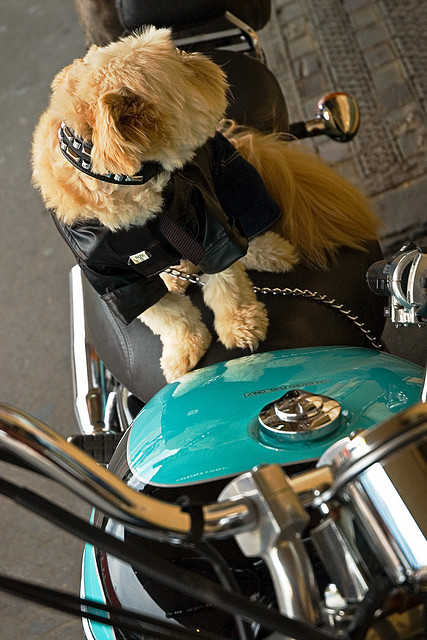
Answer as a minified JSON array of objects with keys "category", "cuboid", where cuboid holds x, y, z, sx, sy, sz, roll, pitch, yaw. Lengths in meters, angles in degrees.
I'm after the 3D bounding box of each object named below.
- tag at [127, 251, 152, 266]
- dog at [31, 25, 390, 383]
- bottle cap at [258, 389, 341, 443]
[{"category":"tag","cuboid":[-0.119,-0.101,0.937,0.036,0.023,0.007,-15,71,-4]},{"category":"dog","cuboid":[-0.010,-0.237,0.967,0.561,0.486,0.363,-43,42,-21]},{"category":"bottle cap","cuboid":[0.078,0.083,0.529,0.075,0.021,0.073,-1,23,18]}]
